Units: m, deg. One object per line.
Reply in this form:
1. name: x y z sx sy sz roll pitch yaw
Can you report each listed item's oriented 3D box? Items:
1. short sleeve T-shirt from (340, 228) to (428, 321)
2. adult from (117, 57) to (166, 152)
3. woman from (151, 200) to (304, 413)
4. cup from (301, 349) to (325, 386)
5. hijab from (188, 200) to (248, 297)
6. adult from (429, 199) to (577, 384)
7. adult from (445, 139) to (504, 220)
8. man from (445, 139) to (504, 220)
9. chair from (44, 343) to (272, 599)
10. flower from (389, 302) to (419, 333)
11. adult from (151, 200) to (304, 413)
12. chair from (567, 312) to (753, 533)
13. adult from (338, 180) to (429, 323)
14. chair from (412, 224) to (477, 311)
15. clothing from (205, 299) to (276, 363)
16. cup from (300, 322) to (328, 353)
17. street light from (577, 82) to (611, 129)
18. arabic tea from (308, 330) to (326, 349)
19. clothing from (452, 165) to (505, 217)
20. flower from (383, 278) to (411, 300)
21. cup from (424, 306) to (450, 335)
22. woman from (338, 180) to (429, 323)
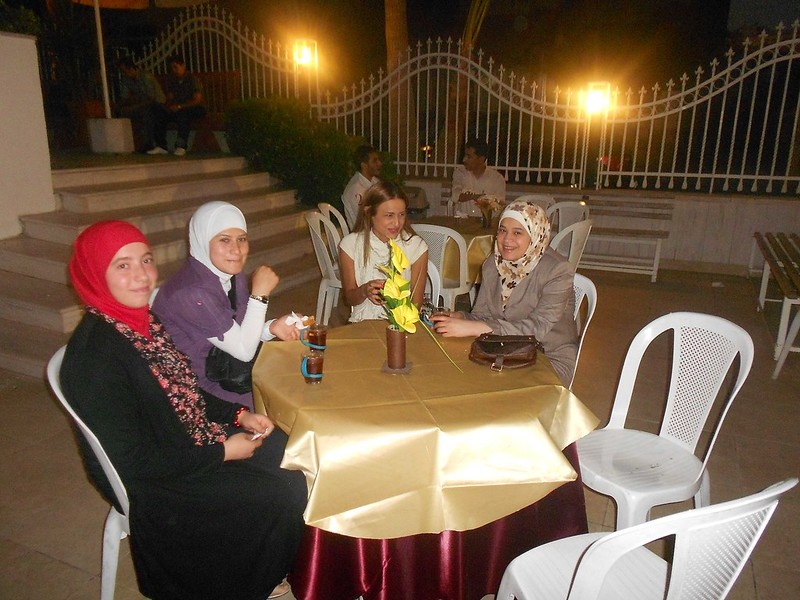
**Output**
1. short sleeve T-shirt: -0.199 -0.274 4.049 0.823 0.891 0.579 0 12 -3
2. adult: -4.748 -3.572 9.918 0.664 1.694 1.743 -10 18 -35
3. woman: -1.022 0.236 3.142 0.797 1.531 0.622 6 22 -9
4. cup: -0.405 0.312 2.568 0.091 0.147 0.145 9 22 19
5. hijab: -1.024 -0.335 3.117 0.276 0.517 0.302 8 32 34
6. adult: 0.690 -0.001 3.385 0.805 1.170 0.779 -10 18 -21
7. adult: 1.033 -1.544 7.416 0.745 1.241 0.742 -2 38 6
8. man: 1.051 -1.539 7.421 0.736 1.270 0.773 -2 37 6
9. chair: -1.092 0.807 2.532 0.797 1.187 0.749 -3 33 -15
10. flower: 0.020 0.072 2.556 0.125 0.131 0.062 22 3 -18
11. adult: -1.009 0.235 3.155 0.798 1.513 0.623 2 21 -18
12. chair: 1.590 0.762 3.289 0.852 1.250 0.672 -15 28 -27
13. adult: -0.132 -0.276 4.158 0.637 1.338 0.335 -7 37 -12
14. chair: 0.390 -0.315 4.953 0.509 0.756 0.495 19 34 31
15. clothing: -0.833 0.175 2.866 0.279 0.355 0.115 31 -7 -6
16. cup: -0.414 0.180 2.719 0.157 0.159 0.109 -9 21 -28
17. street light: 3.134 -3.174 8.812 0.444 0.666 0.295 4 15 9
18. arabic tea: -0.411 0.181 2.658 0.094 0.097 0.067 -6 20 -16
19. clothing: 1.035 -1.378 7.401 0.727 0.935 0.499 2 15 4
20. flower: -0.018 -0.057 2.527 0.103 0.114 0.056 -14 11 -11
21. cup: 0.236 0.108 3.280 0.182 0.141 0.123 8 22 13
22. woman: -0.118 -0.268 4.163 0.646 1.365 0.327 -8 36 -10
